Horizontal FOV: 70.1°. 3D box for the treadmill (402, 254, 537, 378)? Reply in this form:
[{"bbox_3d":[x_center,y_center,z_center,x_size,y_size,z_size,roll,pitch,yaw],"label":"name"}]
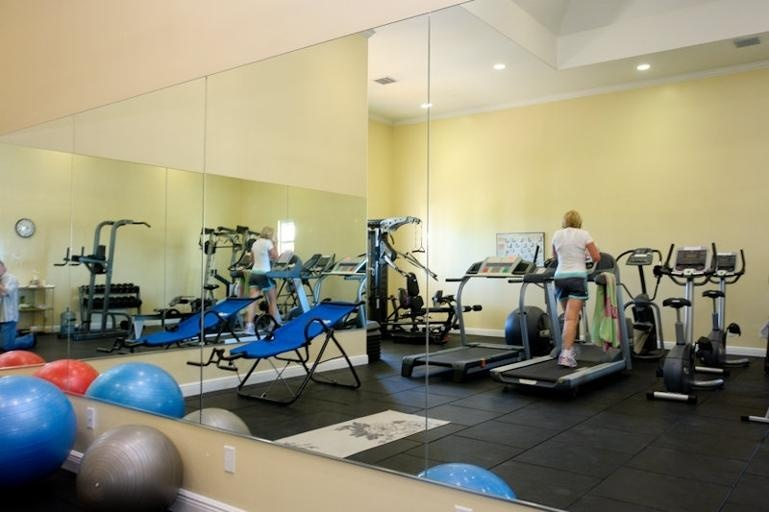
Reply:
[{"bbox_3d":[0.377,0.280,2.543,0.586,0.496,0.429,1,-2,-44],"label":"treadmill"}]

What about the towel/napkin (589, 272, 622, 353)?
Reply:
[{"bbox_3d":[0.961,0.248,2.428,0.140,0.314,0.136,2,5,16],"label":"towel/napkin"}]

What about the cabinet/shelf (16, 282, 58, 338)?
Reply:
[{"bbox_3d":[-2.879,0.443,4.557,0.478,0.421,0.161,2,3,35],"label":"cabinet/shelf"}]

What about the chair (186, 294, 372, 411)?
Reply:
[{"bbox_3d":[-0.610,0.549,3.160,0.510,0.483,0.951,-2,0,40],"label":"chair"}]

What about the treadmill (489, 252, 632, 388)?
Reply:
[{"bbox_3d":[0.783,0.270,2.396,0.621,0.562,0.368,0,-1,-43],"label":"treadmill"}]

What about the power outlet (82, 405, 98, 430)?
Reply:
[{"bbox_3d":[-2.202,1.220,4.102,0.201,0.228,0.039,-4,-5,40],"label":"power outlet"}]
